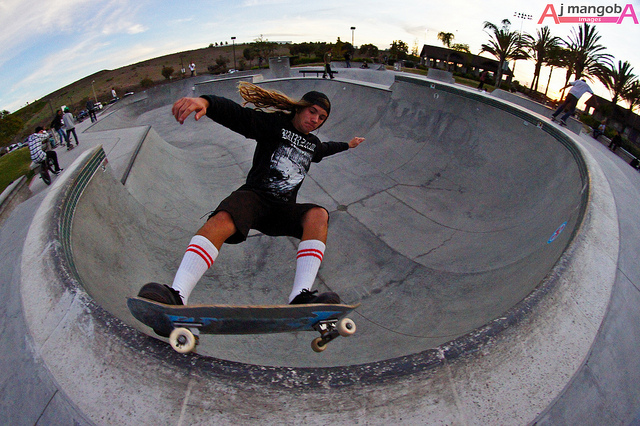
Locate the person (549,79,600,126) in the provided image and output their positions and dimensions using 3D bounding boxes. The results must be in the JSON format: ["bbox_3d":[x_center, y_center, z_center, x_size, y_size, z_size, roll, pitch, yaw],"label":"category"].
[{"bbox_3d":[7.298,-3.272,10.384,1.187,0.317,1.671,20,45,-9],"label":"person"}]

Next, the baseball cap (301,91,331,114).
[{"bbox_3d":[-0.053,-1.289,4.515,0.293,0.282,0.171,24,92,-17],"label":"baseball cap"}]

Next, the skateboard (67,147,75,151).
[{"bbox_3d":[-7.714,-2.027,11.699,0.270,0.100,0.083,-13,56,0],"label":"skateboard"}]

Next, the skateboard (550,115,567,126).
[{"bbox_3d":[7.091,-2.760,11.169,0.076,0.118,0.421,21,20,-22],"label":"skateboard"}]
